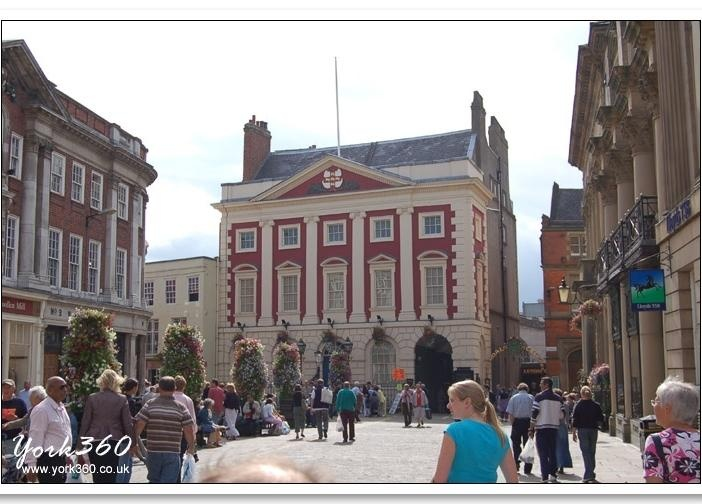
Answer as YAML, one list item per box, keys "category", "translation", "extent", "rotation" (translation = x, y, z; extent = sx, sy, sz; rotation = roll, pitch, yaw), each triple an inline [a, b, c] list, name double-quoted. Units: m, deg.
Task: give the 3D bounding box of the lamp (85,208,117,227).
- category: "lamp"
  translation: [-10.931, -1.562, 37.862]
  extent: [1.742, 0.734, 0.396]
  rotation: [-13, -5, 41]

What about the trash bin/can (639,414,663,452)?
- category: "trash bin/can"
  translation: [6.315, 3.744, 18.188]
  extent: [0.498, 0.708, 0.519]
  rotation: [-10, -18, 27]
